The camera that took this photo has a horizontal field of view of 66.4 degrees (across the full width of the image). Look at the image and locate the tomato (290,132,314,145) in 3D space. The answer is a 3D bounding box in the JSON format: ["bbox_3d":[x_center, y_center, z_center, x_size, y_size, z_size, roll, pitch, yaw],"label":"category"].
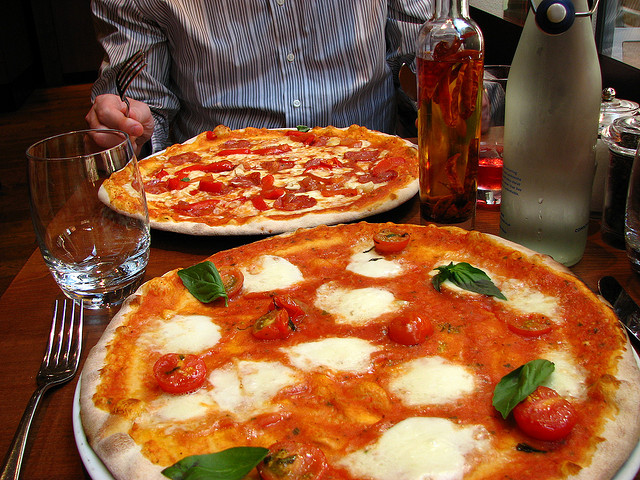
[{"bbox_3d":[-0.073,-0.461,2.217,0.072,0.019,0.068,-4,33,8],"label":"tomato"}]

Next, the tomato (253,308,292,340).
[{"bbox_3d":[-0.090,0.166,0.942,0.064,0.028,0.058,-26,12,-18],"label":"tomato"}]

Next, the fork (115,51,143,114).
[{"bbox_3d":[-0.807,-0.579,2.052,0.074,0.511,0.069,-24,79,-32],"label":"fork"}]

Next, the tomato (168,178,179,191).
[{"bbox_3d":[-0.558,-0.210,1.860,0.049,0.045,0.044,1,-5,14],"label":"tomato"}]

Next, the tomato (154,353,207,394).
[{"bbox_3d":[-0.246,0.226,0.856,0.084,0.055,0.072,-16,41,-17],"label":"tomato"}]

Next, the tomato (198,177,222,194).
[{"bbox_3d":[-0.412,-0.207,1.844,0.072,0.024,0.072,1,29,2],"label":"tomato"}]

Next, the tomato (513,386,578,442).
[{"bbox_3d":[0.341,0.264,0.736,0.070,0.035,0.067,-22,42,-23],"label":"tomato"}]
